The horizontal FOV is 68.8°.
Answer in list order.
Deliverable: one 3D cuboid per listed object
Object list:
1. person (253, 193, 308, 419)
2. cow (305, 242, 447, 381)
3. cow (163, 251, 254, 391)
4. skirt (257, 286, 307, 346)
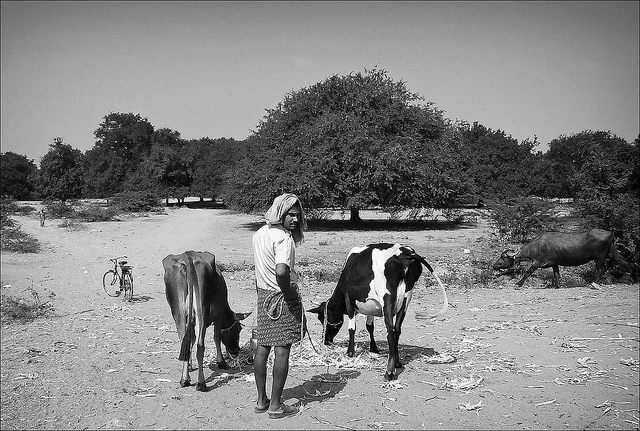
[{"bbox_3d":[-0.597,1.335,6.935,0.745,3.252,0.535,-1,7,-4],"label":"person"},{"bbox_3d":[0.988,1.584,8.578,0.837,2.197,1.937,-5,8,-34],"label":"cow"},{"bbox_3d":[-2.114,1.688,8.120,0.908,2.167,1.303,2,7,15],"label":"cow"},{"bbox_3d":[-0.593,1.454,7.082,0.901,1.269,0.688,0,-8,-2],"label":"skirt"}]
